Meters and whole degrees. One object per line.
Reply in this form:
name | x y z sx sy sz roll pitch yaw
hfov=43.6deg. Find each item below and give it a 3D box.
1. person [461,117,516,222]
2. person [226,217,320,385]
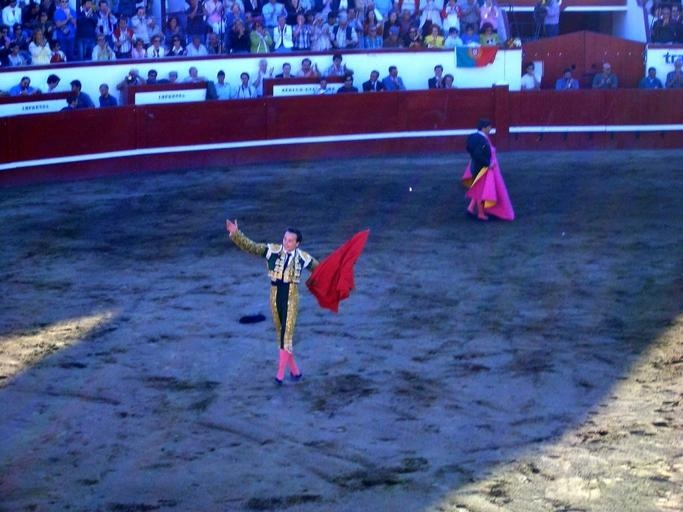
person | 2.023 -1.153 11.725 0.704 1.390 0.620 15 29 40
person | -0.569 0.352 7.548 0.724 1.412 0.535 -2 14 -3
